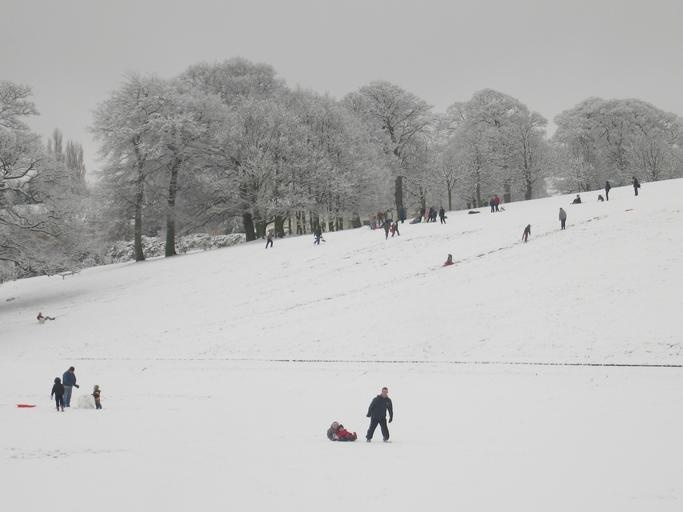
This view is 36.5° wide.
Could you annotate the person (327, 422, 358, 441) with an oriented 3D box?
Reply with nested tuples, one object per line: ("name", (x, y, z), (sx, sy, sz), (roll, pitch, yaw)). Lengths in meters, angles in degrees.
("person", (0.000, 8.185, 47.766), (1.102, 0.835, 0.519), (4, -20, -6))

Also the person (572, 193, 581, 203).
("person", (17.388, -4.102, 76.323), (0.678, 0.689, 2.608), (-3, 0, 13))

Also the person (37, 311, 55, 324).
("person", (-17.780, 3.727, 61.905), (1.084, 0.662, 1.565), (-3, 0, -18))

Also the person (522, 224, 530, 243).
("person", (12.048, -1.359, 67.040), (0.247, 1.264, 0.559), (17, 6, -24))

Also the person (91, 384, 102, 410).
("person", (-12.085, 6.997, 50.849), (0.288, 1.149, 0.860), (-2, -7, 31))

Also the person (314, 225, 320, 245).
("person", (-1.755, -1.374, 74.331), (0.513, 1.349, 1.267), (-3, 0, -2))

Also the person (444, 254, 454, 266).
("person", (6.767, 0.284, 65.336), (0.599, 0.705, 1.601), (-3, 0, 5))
